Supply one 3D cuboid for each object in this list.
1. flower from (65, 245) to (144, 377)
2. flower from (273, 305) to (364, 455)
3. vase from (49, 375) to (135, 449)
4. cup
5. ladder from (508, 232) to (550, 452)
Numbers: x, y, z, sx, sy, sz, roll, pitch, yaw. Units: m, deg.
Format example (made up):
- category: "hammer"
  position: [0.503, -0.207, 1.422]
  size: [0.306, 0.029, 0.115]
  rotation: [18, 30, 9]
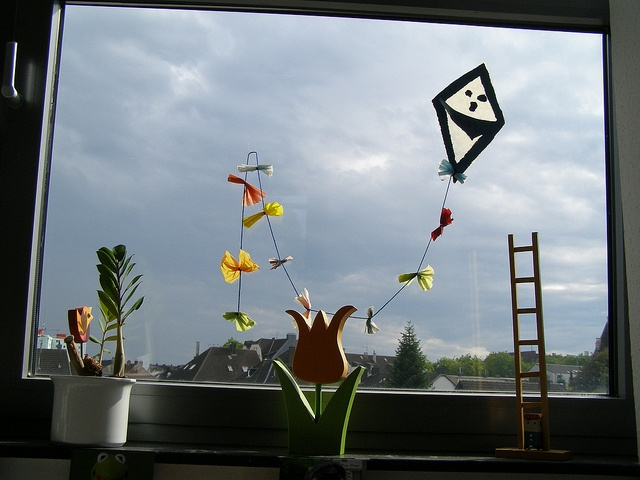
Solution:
- category: "flower"
  position: [-0.642, 0.211, 2.062]
  size: [0.217, 0.403, 0.233]
  rotation: [3, -10, -15]
- category: "flower"
  position: [-0.010, 0.414, 2.030]
  size: [0.261, 0.425, 0.139]
  rotation: [1, -9, -5]
- category: "vase"
  position: [-0.632, 0.493, 1.947]
  size: [0.199, 0.162, 0.206]
  rotation: [-7, -20, 22]
- category: "cup"
  position: [-0.630, 0.490, 1.957]
  size: [0.199, 0.162, 0.206]
  rotation: [0, -19, 0]
- category: "ladder"
  position: [0.635, 0.300, 2.095]
  size: [0.097, 0.647, 0.188]
  rotation: [-3, -10, 19]
